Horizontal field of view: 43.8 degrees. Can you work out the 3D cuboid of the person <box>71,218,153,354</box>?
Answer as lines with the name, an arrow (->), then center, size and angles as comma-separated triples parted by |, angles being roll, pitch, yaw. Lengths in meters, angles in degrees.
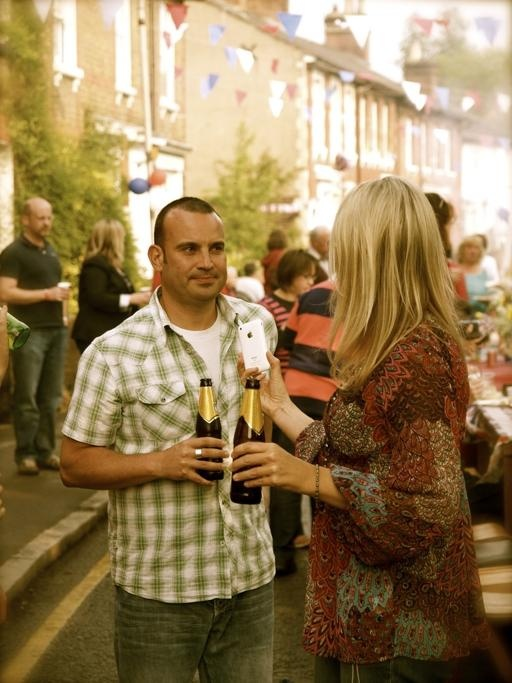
person -> -0.946, -0.421, 4.152 | 0.429, 1.004, 0.387 | -5, 33, -8

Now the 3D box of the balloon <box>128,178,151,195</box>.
balloon -> -0.645, -0.854, 3.511 | 0.088, 0.083, 0.044 | -9, 52, 10

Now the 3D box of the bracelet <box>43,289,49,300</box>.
bracelet -> -1.552, -0.348, 4.709 | 0.038, 0.069, 0.050 | 1, 11, -17

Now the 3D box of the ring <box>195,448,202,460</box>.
ring -> -0.134, 0.261, 1.480 | 0.020, 0.018, 0.017 | -1, 32, -1

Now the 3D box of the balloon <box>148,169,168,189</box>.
balloon -> -0.515, -0.853, 3.326 | 0.082, 0.062, 0.090 | 0, 6, 19

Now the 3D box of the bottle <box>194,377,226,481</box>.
bottle -> -0.118, 0.236, 1.633 | 0.078, 0.280, 0.286 | 4, 10, -5
